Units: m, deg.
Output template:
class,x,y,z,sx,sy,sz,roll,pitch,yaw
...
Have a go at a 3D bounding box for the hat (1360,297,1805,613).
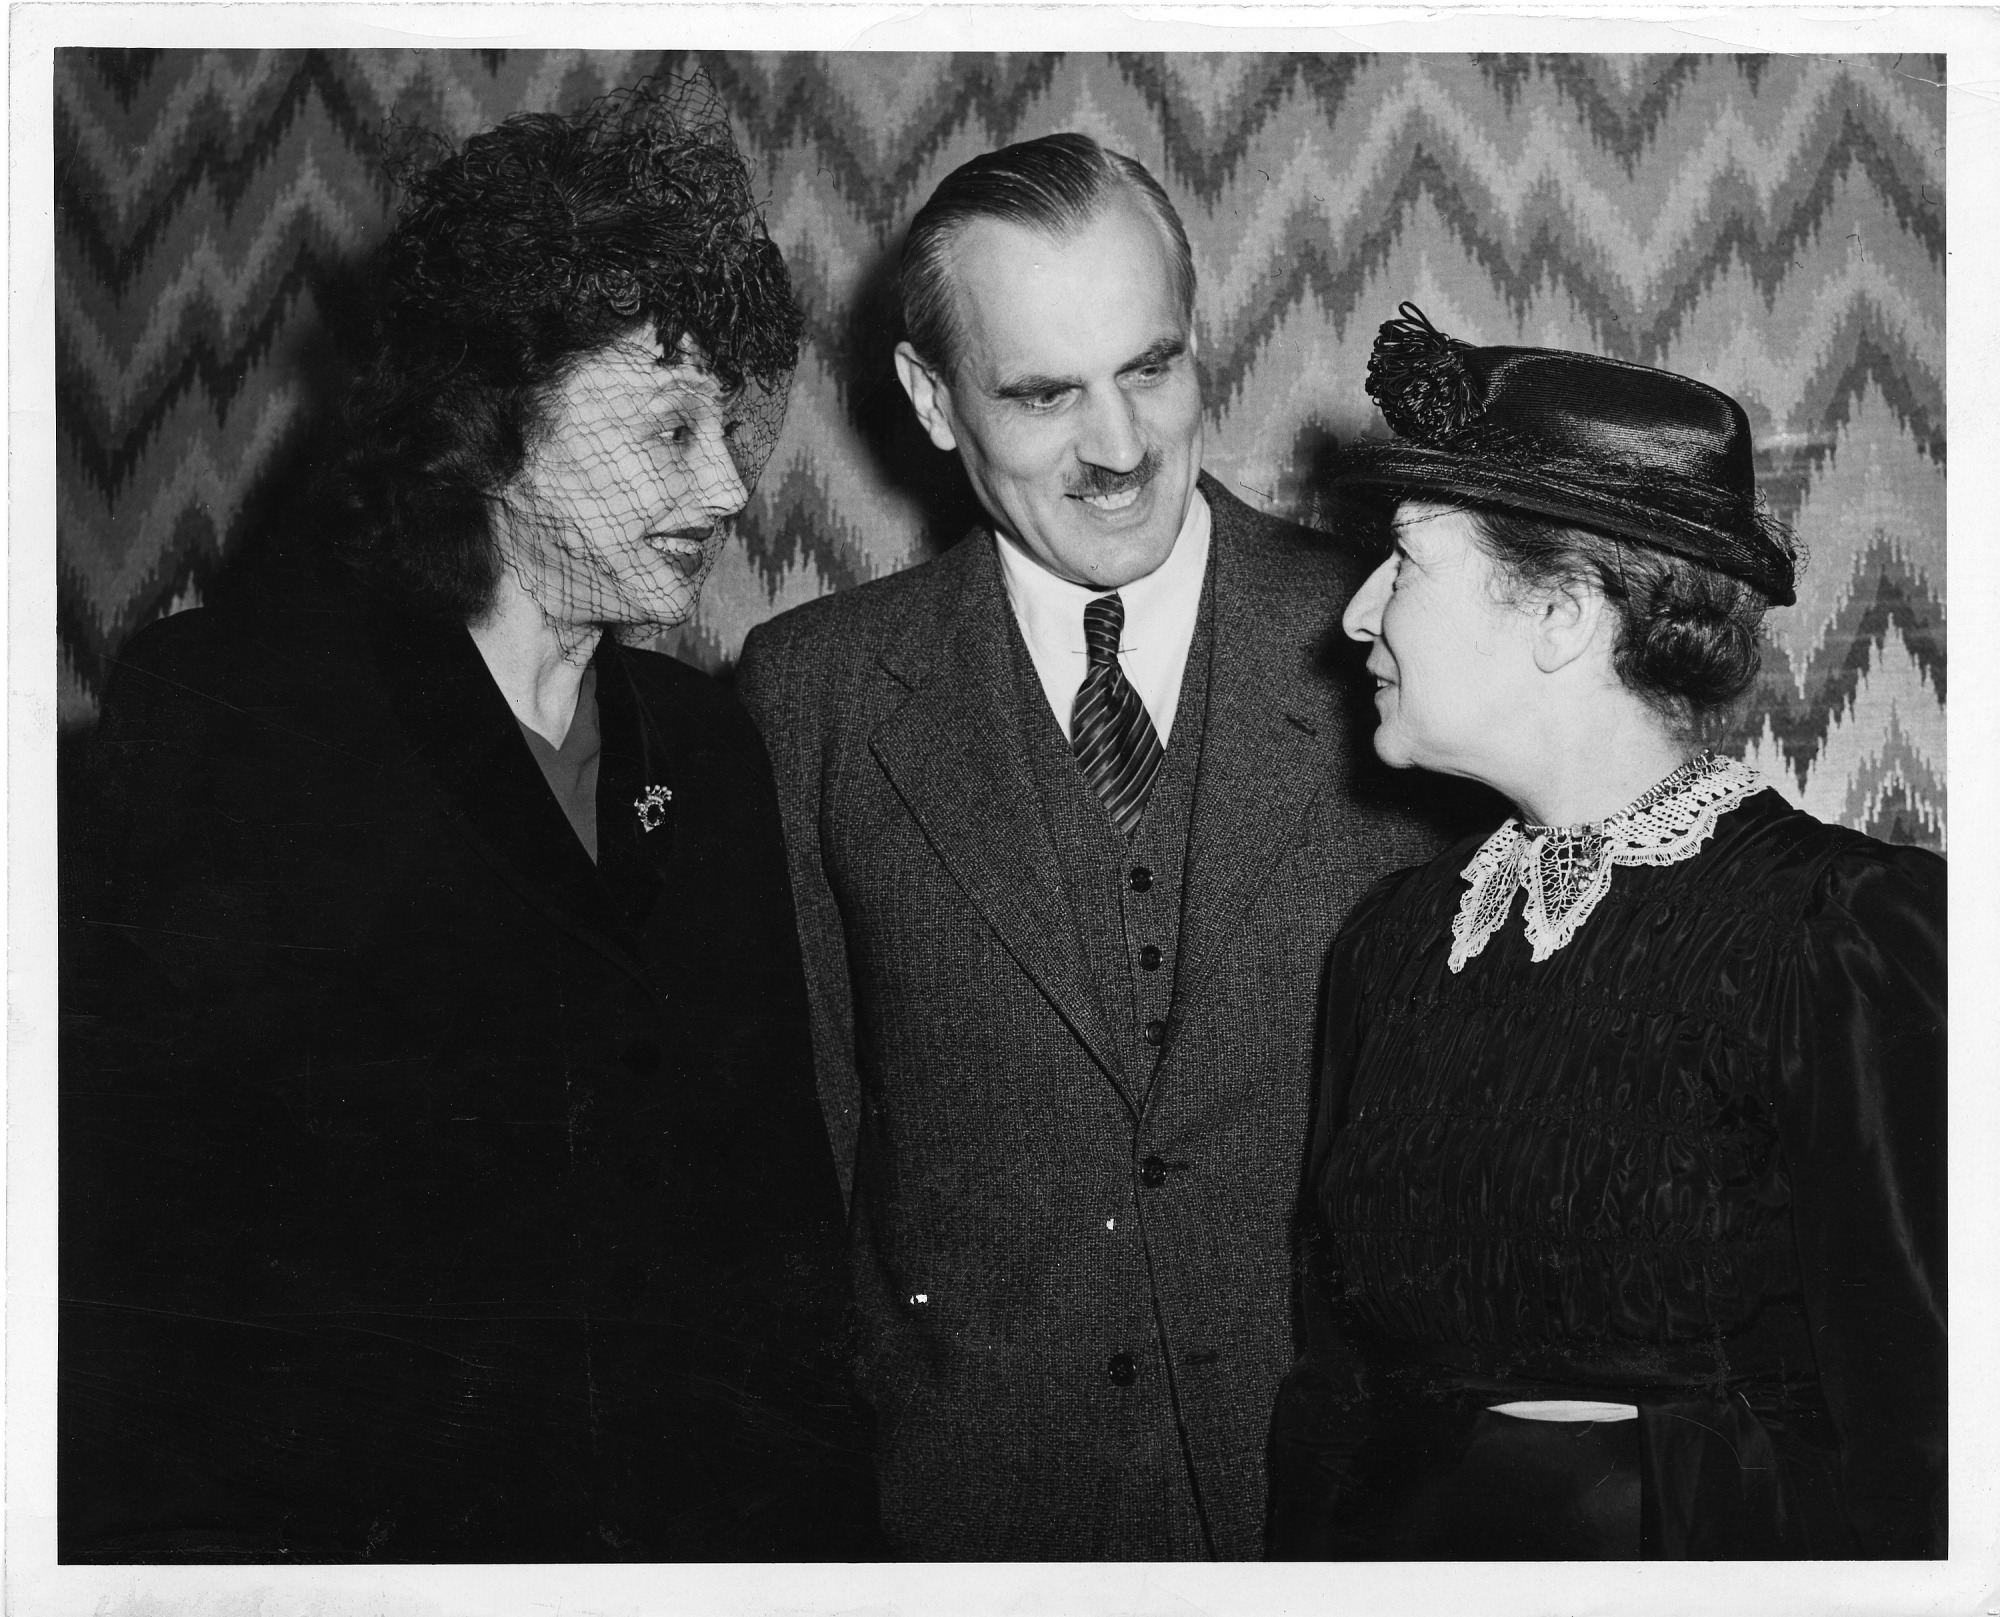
class,x,y,z,sx,sy,sz,roll,pitch,yaw
hat,0.758,-0.444,3.616,0.423,0.170,0.371,16,-3,-1
